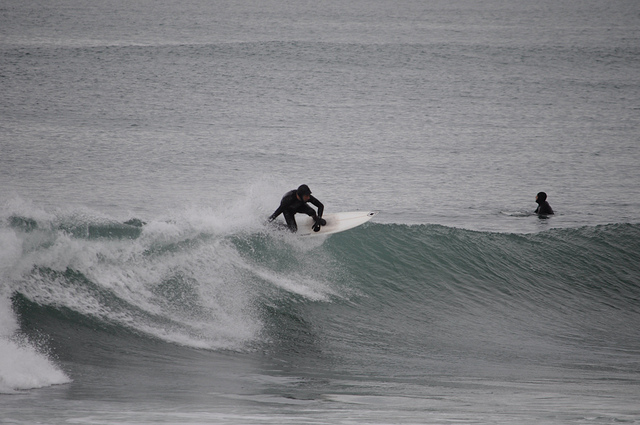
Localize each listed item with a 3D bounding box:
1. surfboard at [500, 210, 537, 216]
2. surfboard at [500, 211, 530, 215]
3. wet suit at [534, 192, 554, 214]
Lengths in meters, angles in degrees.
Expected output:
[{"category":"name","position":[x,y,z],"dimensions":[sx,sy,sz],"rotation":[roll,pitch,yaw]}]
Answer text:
[{"category":"surfboard","position":[8.260,0.040,46.231],"dimensions":[1.287,0.113,0.376],"rotation":[0,20,-7]},{"category":"surfboard","position":[8.107,0.012,46.324],"dimensions":[1.143,0.060,0.303],"rotation":[1,19,-3]},{"category":"wet suit","position":[9.278,-0.374,45.954],"dimensions":[0.632,0.935,0.748],"rotation":[-15,32,-32]}]
